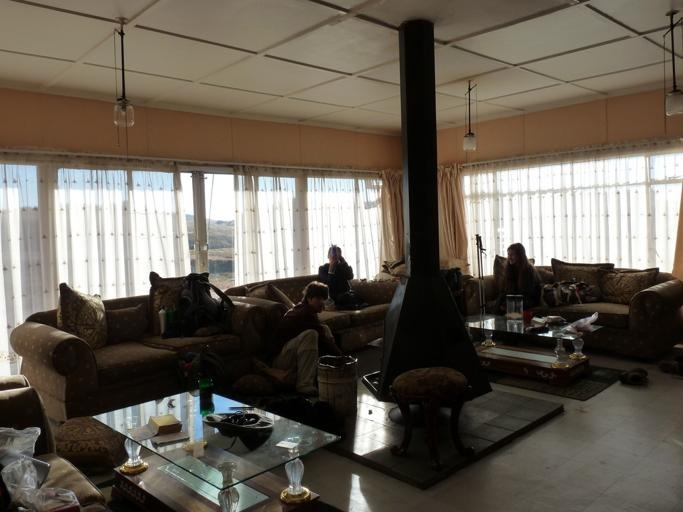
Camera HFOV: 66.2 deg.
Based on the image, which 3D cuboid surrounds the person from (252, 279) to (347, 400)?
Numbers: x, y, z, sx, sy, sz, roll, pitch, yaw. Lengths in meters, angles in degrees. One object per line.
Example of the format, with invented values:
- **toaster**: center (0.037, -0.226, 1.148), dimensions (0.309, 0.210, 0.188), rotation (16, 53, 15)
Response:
- **person**: center (-0.412, 0.902, 5.472), dimensions (0.883, 1.235, 0.916), rotation (-1, -12, 3)

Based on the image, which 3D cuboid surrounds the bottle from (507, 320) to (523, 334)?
- **bottle**: center (1.792, 0.726, 5.411), dimensions (0.122, 0.226, 0.125), rotation (-1, 1, 0)

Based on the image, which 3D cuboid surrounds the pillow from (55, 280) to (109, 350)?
- **pillow**: center (-2.482, 0.672, 4.986), dimensions (0.363, 0.674, 0.567), rotation (-6, -9, 4)

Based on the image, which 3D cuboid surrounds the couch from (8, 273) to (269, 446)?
- **couch**: center (-1.942, 0.826, 5.224), dimensions (0.973, 1.252, 2.215), rotation (2, 4, 38)

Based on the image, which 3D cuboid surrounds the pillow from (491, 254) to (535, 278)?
- **pillow**: center (2.255, 0.138, 7.123), dimensions (0.364, 0.370, 0.149), rotation (-2, -31, 17)

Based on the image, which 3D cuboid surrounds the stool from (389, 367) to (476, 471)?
- **stool**: center (0.657, 1.166, 3.808), dimensions (0.571, 0.600, 0.539), rotation (0, -4, -35)

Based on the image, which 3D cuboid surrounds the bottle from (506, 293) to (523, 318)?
- **bottle**: center (1.868, 0.560, 5.636), dimensions (0.152, 0.242, 0.358), rotation (3, 12, 15)

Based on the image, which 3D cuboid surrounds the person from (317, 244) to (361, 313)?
- **person**: center (-0.028, 0.334, 6.809), dimensions (0.436, 0.962, 0.527), rotation (-16, 5, -16)

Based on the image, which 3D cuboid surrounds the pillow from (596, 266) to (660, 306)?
- **pillow**: center (3.360, 0.442, 6.272), dimensions (0.251, 0.596, 0.691), rotation (16, -6, -29)

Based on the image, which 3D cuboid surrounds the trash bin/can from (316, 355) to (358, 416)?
- **trash bin/can**: center (-0.025, 1.113, 4.487), dimensions (0.374, 0.441, 0.360), rotation (-1, 0, -20)

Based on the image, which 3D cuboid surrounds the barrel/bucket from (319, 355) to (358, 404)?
- **barrel/bucket**: center (-0.049, 1.070, 4.471), dimensions (0.382, 0.396, 0.388), rotation (2, 4, 0)

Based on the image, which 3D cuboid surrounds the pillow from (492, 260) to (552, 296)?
- **pillow**: center (2.315, 0.250, 6.970), dimensions (0.539, 0.554, 0.232), rotation (5, -14, -17)

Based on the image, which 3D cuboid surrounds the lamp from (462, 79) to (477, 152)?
- **lamp**: center (1.547, -1.712, 6.351), dimensions (0.159, 0.788, 0.158), rotation (1, 14, 18)
